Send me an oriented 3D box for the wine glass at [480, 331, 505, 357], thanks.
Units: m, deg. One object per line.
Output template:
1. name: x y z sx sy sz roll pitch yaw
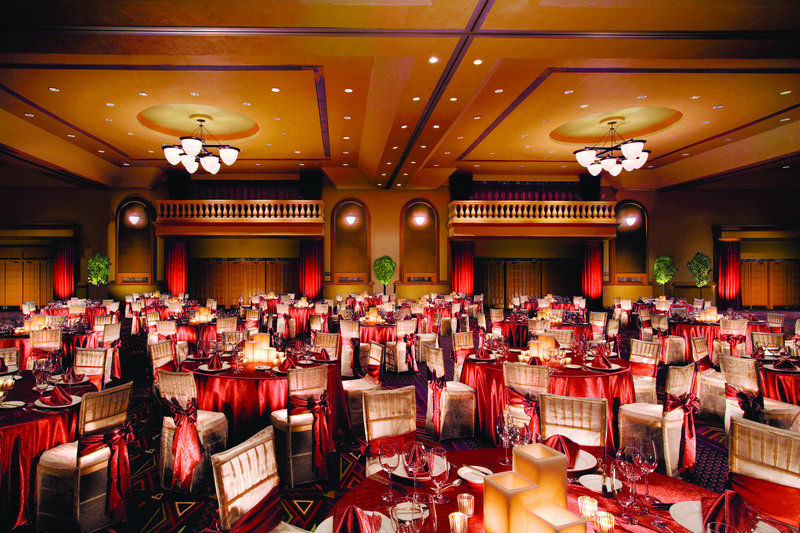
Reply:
1. wine glass: 1.439 1.238 8.687 0.333 0.320 0.332 1 -7 0

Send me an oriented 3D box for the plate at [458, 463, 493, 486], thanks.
1. plate: 0.747 2.061 5.520 0.340 0.129 0.193 -1 -2 9

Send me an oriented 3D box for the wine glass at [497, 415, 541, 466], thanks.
1. wine glass: 1.201 1.777 5.718 0.358 0.467 0.338 0 -2 -20
